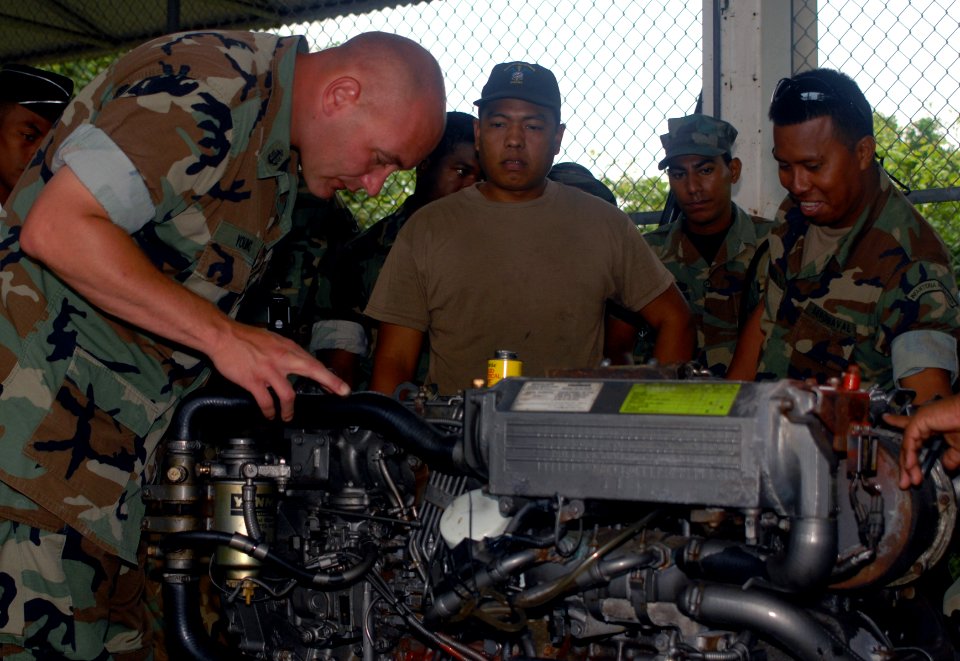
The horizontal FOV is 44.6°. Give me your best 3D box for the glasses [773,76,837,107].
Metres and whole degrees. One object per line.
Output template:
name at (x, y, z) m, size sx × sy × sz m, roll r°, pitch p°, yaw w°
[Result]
glasses at (1.239, -0.939, 4.613) m, size 0.141 × 0.114 × 0.249 m, roll -7°, pitch 9°, yaw -38°
